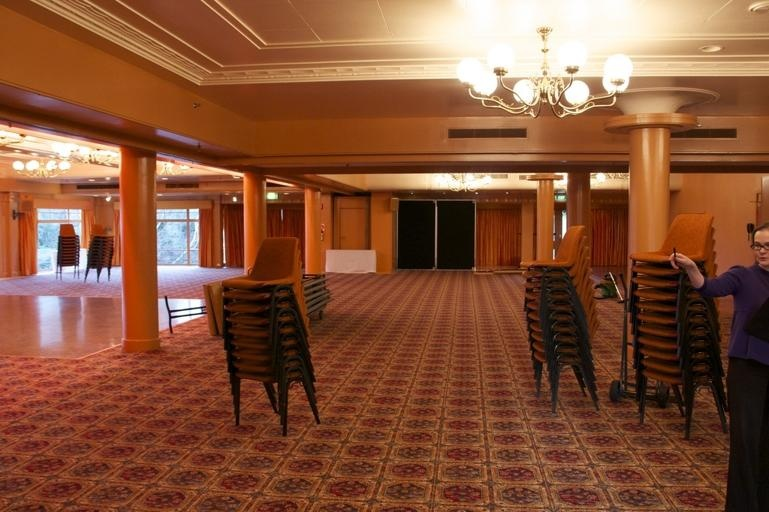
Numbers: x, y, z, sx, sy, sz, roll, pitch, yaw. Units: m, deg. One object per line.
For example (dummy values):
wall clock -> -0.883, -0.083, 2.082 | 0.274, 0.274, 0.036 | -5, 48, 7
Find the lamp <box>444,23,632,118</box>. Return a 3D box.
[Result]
lamp -> 1.955, -2.173, 6.544 | 1.861, 0.767, 1.637 | -1, -1, -37

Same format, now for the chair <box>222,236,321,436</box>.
chair -> -1.243, 0.841, 5.715 | 1.062, 2.057, 0.627 | 0, 6, 3
